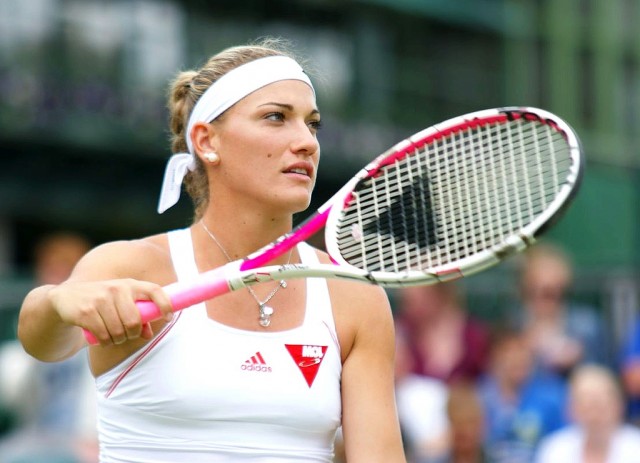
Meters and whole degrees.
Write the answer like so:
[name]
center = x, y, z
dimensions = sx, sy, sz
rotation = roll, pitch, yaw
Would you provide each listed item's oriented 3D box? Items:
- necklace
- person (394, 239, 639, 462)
[necklace]
center = -0.431, 0.275, 5.372
dimensions = 0.249, 0.753, 0.108
rotation = -35, -5, -30
[person]
center = 1.506, 0.929, 8.110
dimensions = 1.261, 1.959, 0.394
rotation = 18, -27, -16
